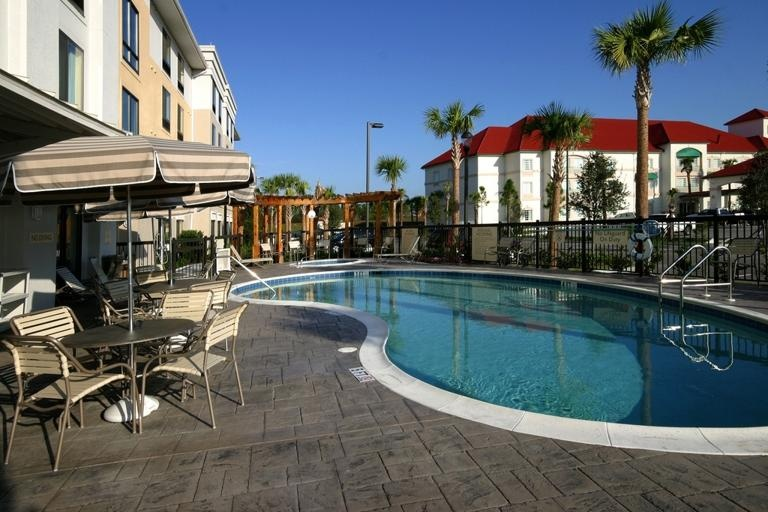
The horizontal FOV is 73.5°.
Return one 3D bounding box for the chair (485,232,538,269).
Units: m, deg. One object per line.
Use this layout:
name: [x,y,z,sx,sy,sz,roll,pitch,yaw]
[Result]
chair: [5.539,-0.230,22.255,2.140,1.459,0.949,8,16,28]
